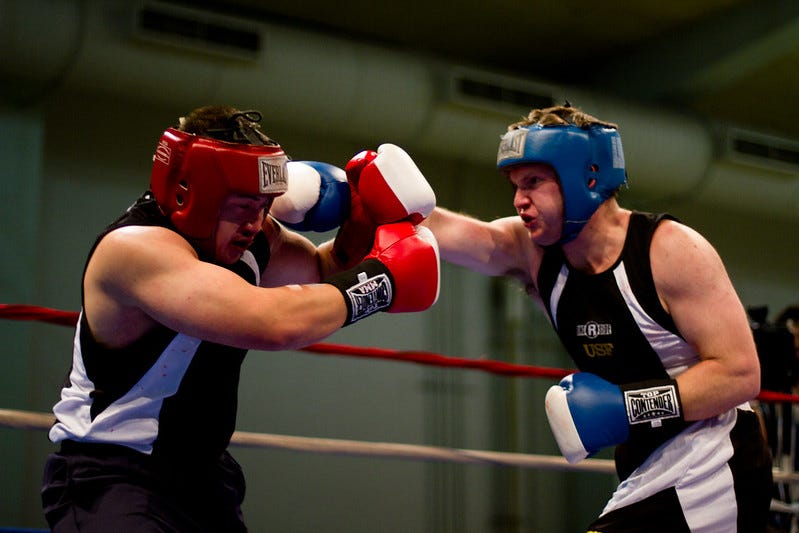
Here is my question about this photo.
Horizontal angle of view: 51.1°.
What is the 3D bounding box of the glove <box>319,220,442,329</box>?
[{"bbox_3d":[-0.061,0.030,3.226,0.452,0.394,0.232,10,1,-13],"label":"glove"}]
